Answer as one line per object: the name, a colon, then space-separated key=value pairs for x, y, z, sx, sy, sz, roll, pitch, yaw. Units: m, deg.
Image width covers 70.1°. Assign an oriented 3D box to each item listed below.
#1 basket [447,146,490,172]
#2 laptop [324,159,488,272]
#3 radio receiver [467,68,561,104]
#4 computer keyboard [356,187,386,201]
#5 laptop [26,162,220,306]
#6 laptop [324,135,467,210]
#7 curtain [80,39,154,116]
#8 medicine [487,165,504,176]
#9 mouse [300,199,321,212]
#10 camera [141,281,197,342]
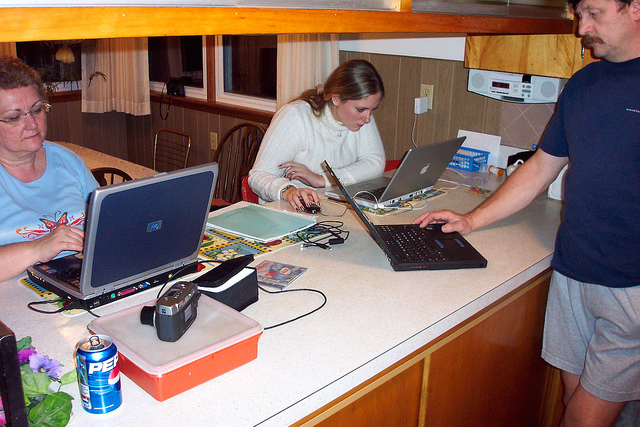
basket: x=0.975 y=-0.360 z=2.968 sx=0.180 sy=0.109 sz=0.270 roll=16 pitch=26 yaw=34
laptop: x=0.354 y=0.048 z=1.873 sx=0.524 sy=0.326 sz=0.483 roll=-9 pitch=28 yaw=-2
radio receiver: x=1.190 y=-0.774 z=2.816 sx=0.130 sy=0.189 sz=0.562 roll=-18 pitch=29 yaw=-40
computer keyboard: x=0.292 y=-0.104 z=2.375 sx=0.195 sy=0.016 sz=0.097 roll=-17 pitch=28 yaw=-39
laptop: x=-0.726 y=0.011 z=1.682 sx=0.557 sy=0.469 sz=0.522 roll=20 pitch=27 yaw=34
laptop: x=0.416 y=-0.207 z=2.344 sx=0.518 sy=0.312 sz=0.493 roll=-22 pitch=33 yaw=-38
curtain: x=-2.192 y=-1.473 z=4.894 sx=0.804 sy=0.887 sz=0.133 roll=10 pitch=26 yaw=15
medicine: x=1.085 y=-0.269 z=2.834 sx=0.048 sy=0.039 sz=0.111 roll=-17 pitch=28 yaw=-38
mouse: x=-0.052 y=-0.037 z=2.225 sx=0.105 sy=0.046 sz=0.070 roll=3 pitch=22 yaw=5
camera: x=-0.434 y=0.274 z=1.333 sx=0.142 sy=0.108 sz=0.168 roll=6 pitch=18 yaw=20
